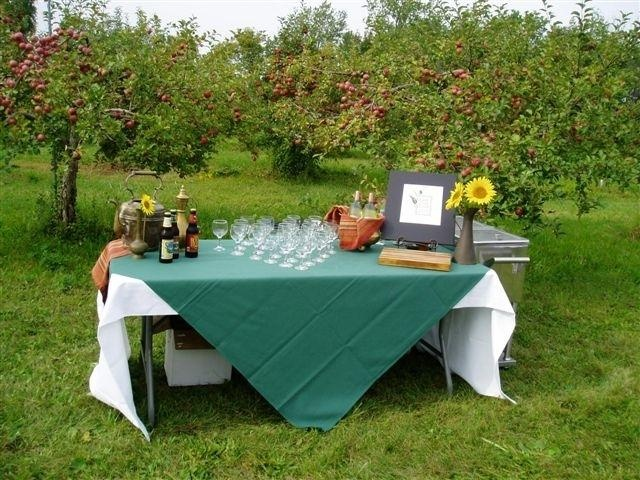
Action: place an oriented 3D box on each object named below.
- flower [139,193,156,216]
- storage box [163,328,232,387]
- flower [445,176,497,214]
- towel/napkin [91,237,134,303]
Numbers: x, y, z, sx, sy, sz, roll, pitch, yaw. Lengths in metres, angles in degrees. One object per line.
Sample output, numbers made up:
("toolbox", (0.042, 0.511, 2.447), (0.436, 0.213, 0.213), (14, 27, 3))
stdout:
("flower", (-1.347, -0.279, 4.185), (0.116, 0.162, 0.187), (0, 10, -19))
("storage box", (-1.091, 1.037, 4.761), (0.552, 0.479, 0.577), (1, 12, -22))
("flower", (1.257, -0.393, 4.453), (0.410, 0.390, 0.346), (-2, 15, -16))
("towel/napkin", (-1.686, 0.184, 4.280), (0.328, 0.543, 0.361), (-2, 13, -23))
